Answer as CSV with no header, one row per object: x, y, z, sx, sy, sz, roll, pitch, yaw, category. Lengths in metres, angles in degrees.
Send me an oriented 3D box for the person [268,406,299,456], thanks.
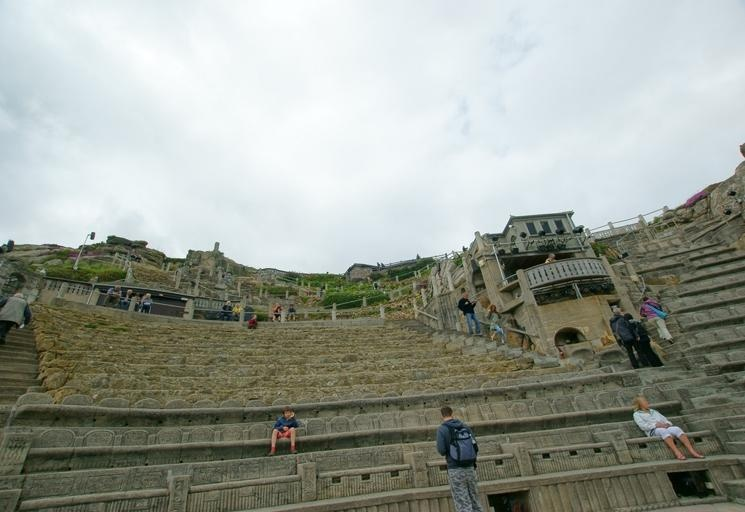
-2.043,3.977,7.822,0.717,1.072,0.851,2,-51,-9,person

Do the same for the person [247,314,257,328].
-6.747,3.556,18.711,0.342,0.728,0.528,13,-49,-18,person
